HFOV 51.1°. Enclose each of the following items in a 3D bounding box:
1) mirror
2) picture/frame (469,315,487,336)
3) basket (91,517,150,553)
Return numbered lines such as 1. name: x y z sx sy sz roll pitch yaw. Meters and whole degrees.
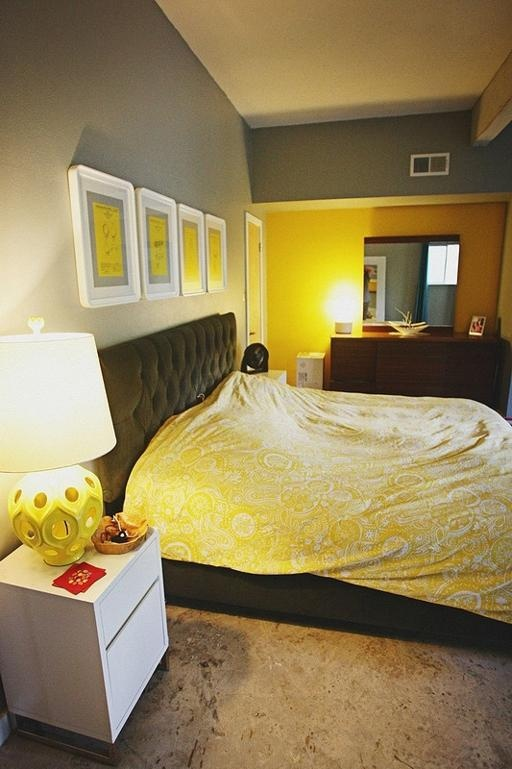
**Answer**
1. mirror: 1.429 -0.922 4.822 0.828 0.910 0.044 2 8 12
2. picture/frame: 1.937 -0.511 4.678 0.023 0.239 0.170 14 -2 -28
3. basket: -0.382 0.423 1.503 0.092 0.034 0.088 11 18 24
